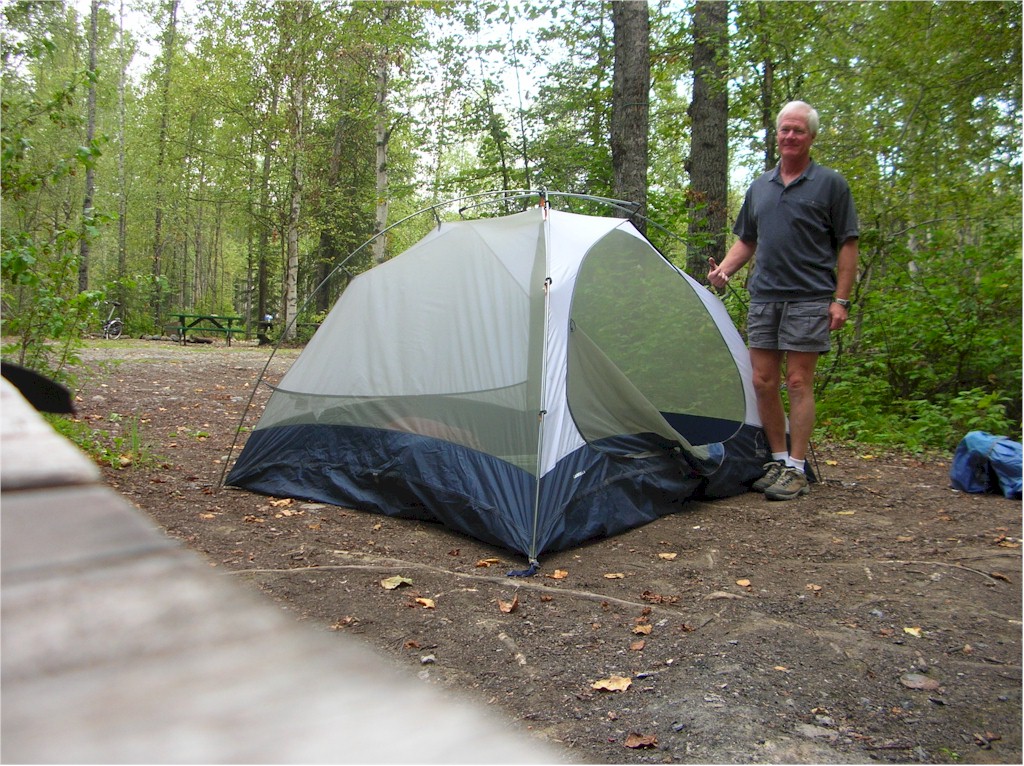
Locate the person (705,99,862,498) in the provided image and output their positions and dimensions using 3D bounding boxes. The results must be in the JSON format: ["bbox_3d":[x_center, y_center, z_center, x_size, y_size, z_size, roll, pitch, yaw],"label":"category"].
[{"bbox_3d":[1.629,-0.438,4.813,0.584,2.241,0.443,0,10,19],"label":"person"}]

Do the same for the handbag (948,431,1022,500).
[{"bbox_3d":[2.688,0.474,4.822,0.398,0.145,0.309,7,8,41],"label":"handbag"}]

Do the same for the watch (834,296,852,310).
[{"bbox_3d":[1.791,-0.437,4.612,0.071,0.043,0.077,4,-7,3],"label":"watch"}]

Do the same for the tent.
[{"bbox_3d":[-0.285,0.048,5.531,2.567,1.456,2.503,-2,3,-40],"label":"tent"}]

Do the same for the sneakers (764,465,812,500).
[{"bbox_3d":[1.606,0.596,4.925,0.128,0.146,0.353,-4,-6,39],"label":"sneakers"}]

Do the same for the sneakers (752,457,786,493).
[{"bbox_3d":[1.585,0.551,5.181,0.308,0.126,0.100,-32,9,-36],"label":"sneakers"}]
